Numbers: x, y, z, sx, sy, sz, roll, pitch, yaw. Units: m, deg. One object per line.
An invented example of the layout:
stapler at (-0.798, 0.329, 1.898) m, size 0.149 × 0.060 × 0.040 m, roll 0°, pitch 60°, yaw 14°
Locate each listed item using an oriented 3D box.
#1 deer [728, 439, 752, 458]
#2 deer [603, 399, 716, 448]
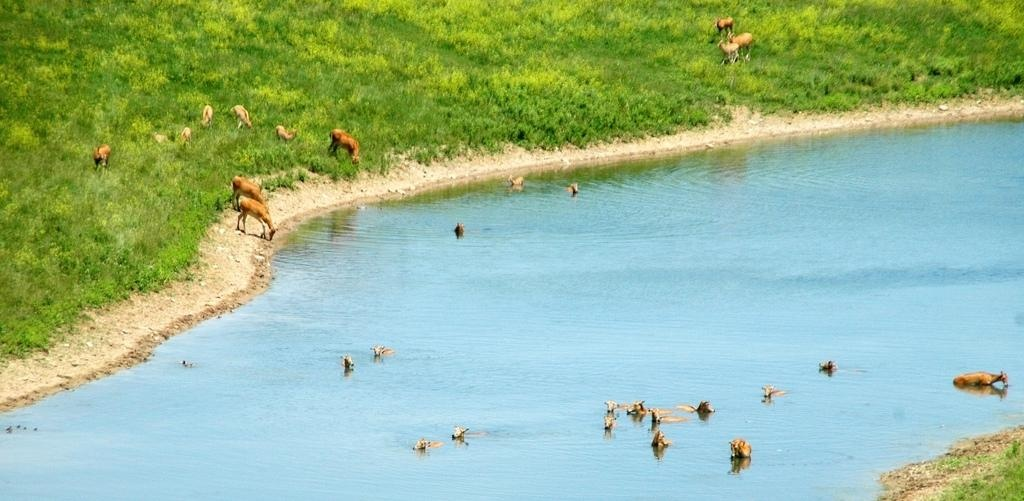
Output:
deer at (9.185, 7.738, 56.157) m, size 0.870 × 0.694 × 0.749 m, roll 1°, pitch 79°, yaw 4°
deer at (5.909, 6.603, 57.688) m, size 4.439 × 1.487 × 1.253 m, roll -2°, pitch 79°, yaw 3°
